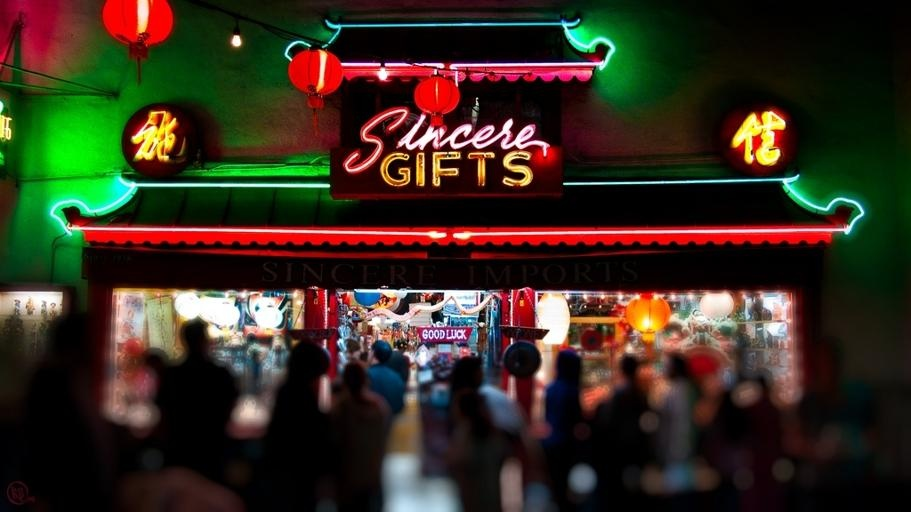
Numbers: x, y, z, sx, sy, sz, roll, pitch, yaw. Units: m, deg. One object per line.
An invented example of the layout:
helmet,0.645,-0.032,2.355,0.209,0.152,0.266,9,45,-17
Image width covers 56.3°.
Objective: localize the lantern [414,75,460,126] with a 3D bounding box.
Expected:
lantern,-0.379,-2.828,15.412,0.683,0.697,0.535,4,-1,-29
